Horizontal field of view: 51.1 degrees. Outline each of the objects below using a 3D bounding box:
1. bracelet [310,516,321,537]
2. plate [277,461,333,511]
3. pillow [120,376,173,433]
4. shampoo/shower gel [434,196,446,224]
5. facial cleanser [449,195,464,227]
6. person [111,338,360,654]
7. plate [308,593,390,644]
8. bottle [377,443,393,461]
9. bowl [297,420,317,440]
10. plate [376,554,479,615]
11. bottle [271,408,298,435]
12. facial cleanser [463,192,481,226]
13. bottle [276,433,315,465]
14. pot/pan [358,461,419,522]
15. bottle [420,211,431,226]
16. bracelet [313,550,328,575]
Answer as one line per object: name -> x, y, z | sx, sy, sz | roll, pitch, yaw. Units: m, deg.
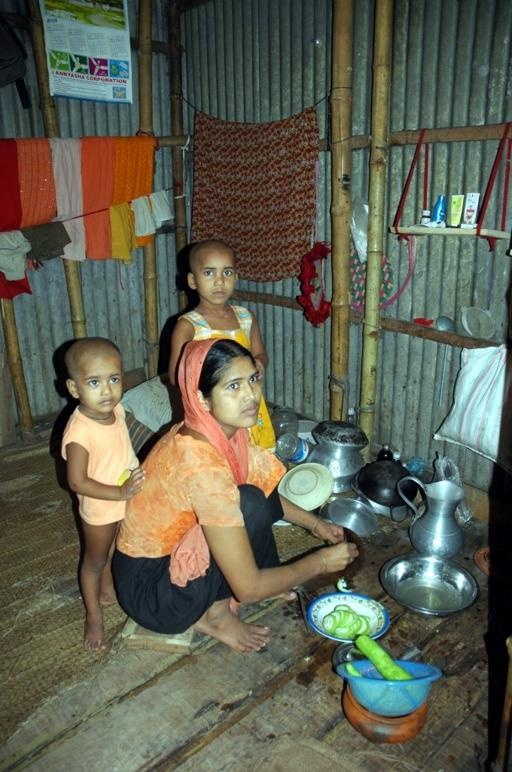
bracelet -> 0.252, 0.597, 2.275 | 0.030, 0.076, 0.058 | -4, 7, -1
plate -> 0.223, 0.462, 2.689 | 0.260, 0.068, 0.258 | -14, 40, 30
pillow -> -0.706, 0.099, 3.516 | 0.304, 0.134, 0.305 | -33, 72, -34
shampoo/shower gel -> 1.015, -0.984, 2.969 | 0.067, 0.165, 0.113 | 4, 14, 17
facial cleanser -> 1.082, -0.963, 2.918 | 0.077, 0.170, 0.101 | 6, 15, 24
person -> -0.076, 0.431, 1.887 | 0.738, 1.219, 0.613 | -9, 16, -30
plate -> 0.333, 0.867, 2.059 | 0.221, 0.061, 0.216 | -6, 18, -27
bottle -> 0.792, 0.410, 3.330 | 0.096, 0.160, 0.101 | -1, 3, 0
bowl -> 0.372, 0.325, 4.005 | 0.119, 0.100, 0.136 | 1, -2, 20
plate -> 0.748, 0.866, 2.330 | 0.398, 0.127, 0.271 | 6, 15, 27
bottle -> 0.227, 0.262, 4.065 | 0.178, 0.199, 0.179 | -1, -3, 7
facial cleanser -> 1.132, -0.941, 2.834 | 0.079, 0.186, 0.145 | 5, 15, 20
bottle -> 0.245, 0.422, 3.544 | 0.204, 0.208, 0.332 | -12, -8, -1
pot/pan -> 0.743, 0.579, 3.028 | 0.279, 0.134, 0.434 | -7, 51, 5
bottle -> 0.959, -0.965, 3.039 | 0.056, 0.100, 0.187 | 4, 14, 17
bracelet -> 0.227, 0.629, 1.881 | 0.025, 0.067, 0.056 | 4, -22, 5
